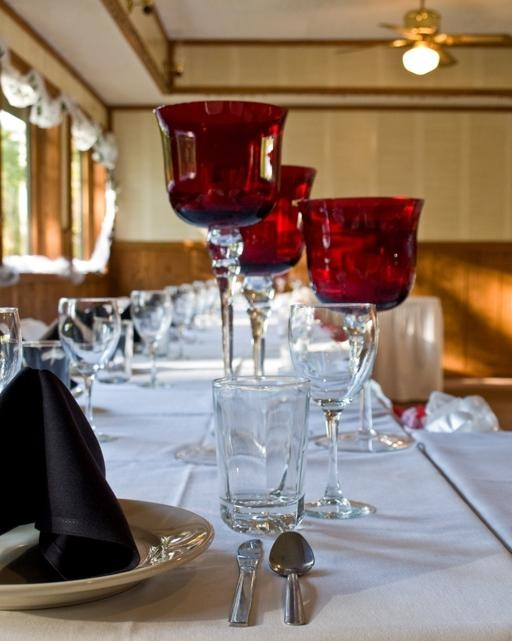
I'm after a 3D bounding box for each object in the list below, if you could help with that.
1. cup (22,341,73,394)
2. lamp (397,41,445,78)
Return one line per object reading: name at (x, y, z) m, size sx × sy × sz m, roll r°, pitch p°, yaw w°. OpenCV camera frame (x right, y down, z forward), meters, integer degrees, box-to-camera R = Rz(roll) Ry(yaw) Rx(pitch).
cup at (-0.291, 0.046, 0.882) m, size 0.066 × 0.098 × 0.061 m, roll 7°, pitch 5°, yaw -1°
lamp at (1.309, -2.056, 5.020) m, size 0.265 × 0.213 × 0.239 m, roll -1°, pitch 3°, yaw 16°
